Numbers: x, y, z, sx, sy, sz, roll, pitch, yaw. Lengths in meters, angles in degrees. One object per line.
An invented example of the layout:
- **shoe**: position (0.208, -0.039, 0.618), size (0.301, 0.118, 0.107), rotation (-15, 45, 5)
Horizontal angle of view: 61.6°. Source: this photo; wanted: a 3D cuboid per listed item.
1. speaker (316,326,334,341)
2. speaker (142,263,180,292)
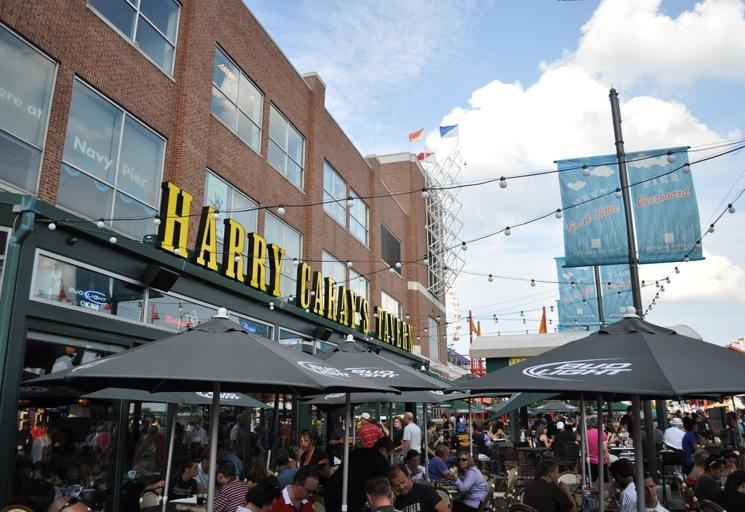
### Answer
- **speaker**: position (-2.069, 3.256, 25.948), size (0.526, 0.716, 1.041), rotation (0, -7, 26)
- **speaker**: position (-5.840, 0.589, 17.049), size (0.541, 0.530, 0.952), rotation (-16, -24, 30)
